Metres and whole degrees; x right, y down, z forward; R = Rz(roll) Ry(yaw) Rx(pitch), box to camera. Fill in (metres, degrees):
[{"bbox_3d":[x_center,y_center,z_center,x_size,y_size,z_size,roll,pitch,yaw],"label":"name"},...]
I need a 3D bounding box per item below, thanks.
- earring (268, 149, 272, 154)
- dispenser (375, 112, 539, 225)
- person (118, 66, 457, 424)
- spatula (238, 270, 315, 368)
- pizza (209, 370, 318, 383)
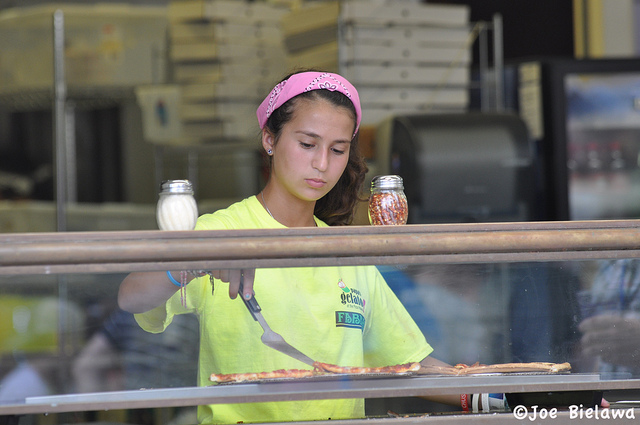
[{"bbox_3d":[-0.219,-0.258,7.111,0.010,0.018,0.027,-1,1,-31],"label":"earring"},{"bbox_3d":[0.714,-0.224,8.272,0.704,0.523,0.176,-1,0,18],"label":"dispenser"},{"bbox_3d":[-0.120,0.149,7.132,1.150,1.549,0.893,11,-19,-29],"label":"person"},{"bbox_3d":[-0.183,0.430,6.809,0.080,0.451,0.065,-34,-19,-9],"label":"spatula"},{"bbox_3d":[-0.232,0.652,6.750,0.431,0.047,0.071,-1,1,-2],"label":"pizza"}]
